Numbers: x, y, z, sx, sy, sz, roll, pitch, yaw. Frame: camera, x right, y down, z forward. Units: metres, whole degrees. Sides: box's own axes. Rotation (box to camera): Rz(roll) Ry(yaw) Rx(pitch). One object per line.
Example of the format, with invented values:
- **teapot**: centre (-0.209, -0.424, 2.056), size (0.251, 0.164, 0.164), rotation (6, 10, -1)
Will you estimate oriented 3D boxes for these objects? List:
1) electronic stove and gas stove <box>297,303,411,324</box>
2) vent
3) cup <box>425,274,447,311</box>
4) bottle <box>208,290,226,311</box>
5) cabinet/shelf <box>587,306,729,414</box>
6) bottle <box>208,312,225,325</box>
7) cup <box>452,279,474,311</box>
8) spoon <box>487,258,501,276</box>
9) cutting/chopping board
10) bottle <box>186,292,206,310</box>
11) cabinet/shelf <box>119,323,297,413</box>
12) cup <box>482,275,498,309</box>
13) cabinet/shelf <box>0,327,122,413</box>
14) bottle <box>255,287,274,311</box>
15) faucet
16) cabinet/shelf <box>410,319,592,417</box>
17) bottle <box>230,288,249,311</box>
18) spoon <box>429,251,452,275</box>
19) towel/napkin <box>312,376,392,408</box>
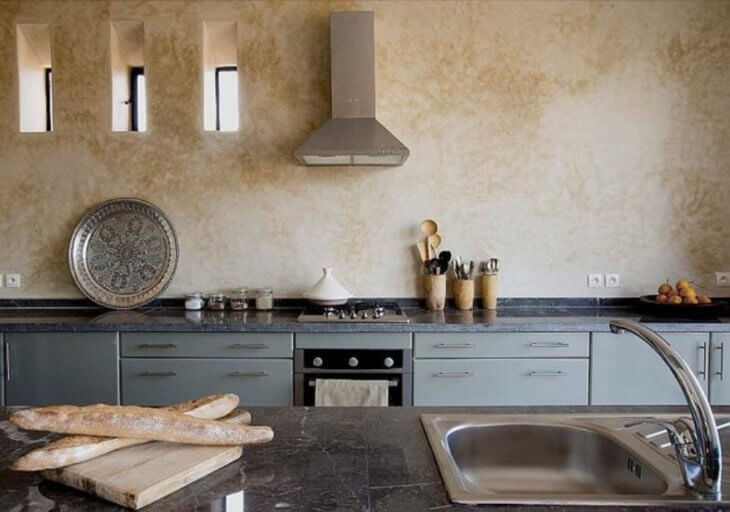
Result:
- **electronic stove and gas stove**: centre (-0.093, 0.382, 4.850), size (0.704, 0.108, 0.617), rotation (-1, 0, -3)
- **vent**: centre (-0.091, -1.171, 5.193), size (1.265, 1.072, 1.029), rotation (0, 10, 3)
- **cup**: centre (0.479, 0.253, 5.057), size (0.152, 0.228, 0.100), rotation (-2, 0, 15)
- **bottle**: centre (-1.019, 0.325, 5.076), size (0.149, 0.106, 0.137), rotation (0, 0, 0)
- **cabinet/shelf**: centre (1.835, 0.639, 4.742), size (1.233, 0.497, 0.605), rotation (0, -3, 0)
- **bottle**: centre (-0.971, 0.410, 4.752), size (0.095, 0.051, 0.092), rotation (1, 6, 0)
- **cup**: centre (0.710, 0.268, 5.091), size (0.170, 0.196, 0.145), rotation (-2, 0, -10)
- **spoon**: centre (0.905, 0.071, 5.129), size (0.083, 0.116, 0.121), rotation (-2, 0, 11)
- **cutting/chopping board**: centre (-0.882, 0.853, 2.905), size (0.387, 0.041, 0.393), rotation (0, 0, 30)
- **bottle**: centre (-1.182, 0.318, 5.045), size (0.130, 0.117, 0.100), rotation (-2, 0, -20)
- **cabinet/shelf**: centre (-0.978, 0.697, 4.567), size (1.174, 0.532, 0.547), rotation (0, -6, 0)
- **cup**: centre (0.869, 0.248, 5.097), size (0.104, 0.221, 0.057), rotation (-2, 0, 3)
- **cabinet/shelf**: centre (-1.809, 0.675, 4.820), size (1.064, 0.659, 0.501), rotation (2, 2, -6)
- **bottle**: centre (-0.706, 0.304, 5.059), size (0.114, 0.146, 0.122), rotation (-2, 0, 0)
- **faucet**: centre (1.237, 0.613, 3.002), size (0.395, 0.582, 0.213), rotation (-2, 0, 5)
- **cabinet/shelf**: centre (0.872, 0.720, 4.785), size (1.129, 0.360, 0.556), rotation (0, -7, -1)
- **bottle**: centre (-0.873, 0.303, 5.039), size (0.180, 0.138, 0.163), rotation (-2, 2, -24)
- **spoon**: centre (0.516, 0.050, 5.052), size (0.235, 0.153, 0.123), rotation (0, -7, 3)
- **towel/napkin**: centre (-0.078, 0.802, 4.237), size (0.441, 0.196, 0.182), rotation (0, -13, 1)
